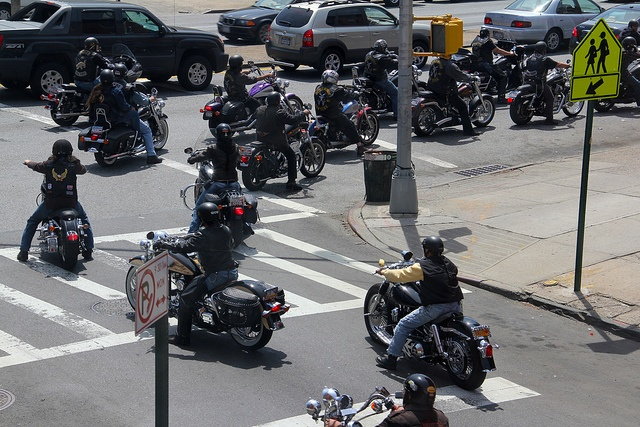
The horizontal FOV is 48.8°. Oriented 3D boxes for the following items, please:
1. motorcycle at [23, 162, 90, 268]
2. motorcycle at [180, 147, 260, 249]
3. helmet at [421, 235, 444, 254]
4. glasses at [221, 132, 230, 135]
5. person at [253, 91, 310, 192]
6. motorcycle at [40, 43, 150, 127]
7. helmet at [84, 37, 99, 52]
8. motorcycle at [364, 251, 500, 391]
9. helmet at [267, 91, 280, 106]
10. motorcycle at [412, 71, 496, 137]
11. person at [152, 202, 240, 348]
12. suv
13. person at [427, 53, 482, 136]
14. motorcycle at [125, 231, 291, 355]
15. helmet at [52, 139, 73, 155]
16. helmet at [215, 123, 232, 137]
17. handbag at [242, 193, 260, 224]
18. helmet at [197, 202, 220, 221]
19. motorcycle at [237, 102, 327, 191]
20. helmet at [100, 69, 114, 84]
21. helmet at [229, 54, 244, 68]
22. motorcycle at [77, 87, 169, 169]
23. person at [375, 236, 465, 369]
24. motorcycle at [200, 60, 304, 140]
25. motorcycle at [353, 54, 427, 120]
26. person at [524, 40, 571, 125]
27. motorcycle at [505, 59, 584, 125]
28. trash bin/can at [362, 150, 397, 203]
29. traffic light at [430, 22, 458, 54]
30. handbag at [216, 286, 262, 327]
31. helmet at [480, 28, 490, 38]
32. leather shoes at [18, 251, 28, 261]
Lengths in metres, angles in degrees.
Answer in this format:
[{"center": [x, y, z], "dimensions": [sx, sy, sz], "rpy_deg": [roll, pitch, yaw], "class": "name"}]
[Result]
[{"center": [-4.786, -0.109, 12.832], "dimensions": [1.298, 1.243, 2.145], "rpy_deg": [-5, 25, -20], "class": "motorcycle"}, {"center": [-1.783, -0.392, 14.259], "dimensions": [1.378, 1.317, 2.494], "rpy_deg": [-10, 26, -23], "class": "motorcycle"}, {"center": [1.603, 0.434, 10.070], "dimensions": [0.260, 0.213, 0.280], "rpy_deg": [4, 28, -13], "class": "helmet"}, {"center": [-1.830, -1.550, 13.738], "dimensions": [0.058, 0.073, 0.160], "rpy_deg": [11, 18, 35], "class": "glasses"}, {"center": [-0.936, -1.629, 16.210], "dimensions": [1.026, 2.311, 0.494], "rpy_deg": [-3, 17, -6], "class": "person"}, {"center": [-6.394, -3.492, 19.348], "dimensions": [3.443, 1.481, 1.402], "rpy_deg": [-4, 10, 35], "class": "motorcycle"}, {"center": [-6.309, -4.618, 19.297], "dimensions": [0.321, 0.371, 0.370], "rpy_deg": [-4, 16, -12], "class": "helmet"}, {"center": [1.552, 1.474, 10.518], "dimensions": [1.473, 1.565, 3.055], "rpy_deg": [-6, 13, -26], "class": "motorcycle"}, {"center": [-1.065, -2.572, 15.848], "dimensions": [0.278, 0.301, 0.238], "rpy_deg": [-2, 16, -4], "class": "helmet"}, {"center": [3.934, -3.297, 20.684], "dimensions": [3.692, 1.695, 1.644], "rpy_deg": [-15, 24, -37], "class": "motorcycle"}, {"center": [-1.820, 0.918, 10.574], "dimensions": [1.117, 2.132, 0.461], "rpy_deg": [-4, 17, -10], "class": "person"}, {"center": [0.704, -6.438, 26.723], "dimensions": [7.700, 2.708, 3.276], "rpy_deg": [-11, 21, -24], "class": "suv"}, {"center": [3.732, -3.330, 20.117], "dimensions": [1.322, 2.281, 0.519], "rpy_deg": [1, 17, 5], "class": "person"}, {"center": [-1.879, 1.051, 10.973], "dimensions": [3.167, 1.445, 1.405], "rpy_deg": [13, 16, 29], "class": "motorcycle"}, {"center": [-4.776, -1.207, 13.060], "dimensions": [0.327, 0.306, 0.328], "rpy_deg": [2, 28, -7], "class": "helmet"}, {"center": [-1.902, -1.616, 13.771], "dimensions": [0.263, 0.263, 0.273], "rpy_deg": [6, 45, -10], "class": "helmet"}, {"center": [-1.340, -0.073, 13.512], "dimensions": [0.465, 0.469, 0.276], "rpy_deg": [-3, -4, -4], "class": "handbag"}, {"center": [-1.674, -0.009, 10.487], "dimensions": [0.296, 0.290, 0.264], "rpy_deg": [-4, 16, -12], "class": "helmet"}, {"center": [-0.869, -1.487, 16.997], "dimensions": [2.785, 1.522, 1.409], "rpy_deg": [-22, 28, -38], "class": "motorcycle"}, {"center": [-5.206, -3.306, 17.093], "dimensions": [0.301, 0.344, 0.315], "rpy_deg": [-8, 17, -23], "class": "helmet"}, {"center": [-2.252, -4.027, 18.757], "dimensions": [0.325, 0.349, 0.510], "rpy_deg": [8, 17, 28], "class": "helmet"}, {"center": [-4.894, -2.331, 18.293], "dimensions": [1.394, 1.667, 3.225], "rpy_deg": [17, 23, 15], "class": "motorcycle"}, {"center": [1.440, 1.299, 10.122], "dimensions": [1.185, 1.924, 0.475], "rpy_deg": [0, 17, 3], "class": "person"}, {"center": [-1.875, -3.224, 19.843], "dimensions": [3.347, 1.701, 1.819], "rpy_deg": [-20, 26, -40], "class": "motorcycle"}, {"center": [2.078, -3.891, 21.295], "dimensions": [1.705, 1.680, 3.296], "rpy_deg": [26, 30, 37], "class": "motorcycle"}, {"center": [6.701, -3.916, 21.317], "dimensions": [0.936, 2.462, 0.390], "rpy_deg": [3, 18, 13], "class": "person"}, {"center": [7.096, -3.889, 21.987], "dimensions": [3.546, 1.788, 1.655], "rpy_deg": [-16, 27, -34], "class": "motorcycle"}, {"center": [1.354, -0.818, 15.909], "dimensions": [0.723, 1.163, 0.622], "rpy_deg": [0, 17, 4], "class": "trash bin/can"}, {"center": [2.955, -4.142, 16.667], "dimensions": [0.727, 0.711, 0.503], "rpy_deg": [6, 18, 24], "class": "traffic light"}, {"center": [-1.246, 1.388, 10.437], "dimensions": [0.760, 0.420, 0.368], "rpy_deg": [9, 9, 37], "class": "handbag"}, {"center": [5.296, -5.808, 22.705], "dimensions": [0.276, 0.259, 0.354], "rpy_deg": [1, 15, 5], "class": "helmet"}, {"center": [-5.425, 0.782, 12.778], "dimensions": [0.216, 0.187, 0.151], "rpy_deg": [18, 19, 39], "class": "leather shoes"}]
